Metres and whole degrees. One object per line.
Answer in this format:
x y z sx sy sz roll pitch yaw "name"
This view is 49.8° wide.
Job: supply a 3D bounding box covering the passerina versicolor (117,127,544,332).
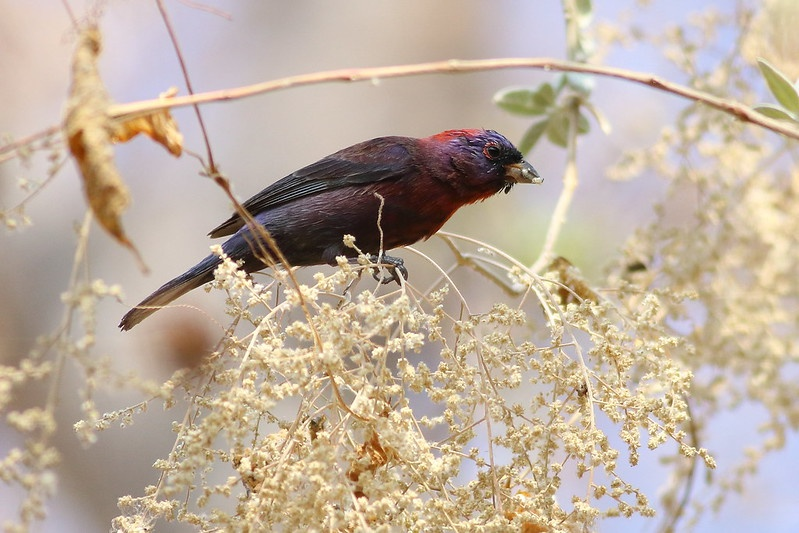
-0.268 -0.202 3.275 1.538 0.560 0.380 -4 -12 6 "passerina versicolor"
